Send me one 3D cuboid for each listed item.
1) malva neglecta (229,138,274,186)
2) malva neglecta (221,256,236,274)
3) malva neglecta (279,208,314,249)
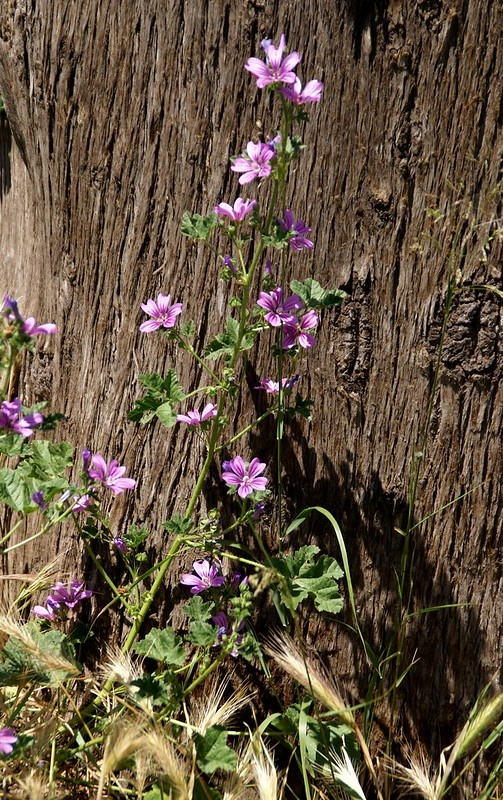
[{"bbox_3d":[0.000,-0.613,2.565,0.083,0.109,0.162,1,21,-30],"label":"malva neglecta"},{"bbox_3d":[-0.060,-0.369,2.731,0.026,0.037,0.083,19,11,2],"label":"malva neglecta"},{"bbox_3d":[0.126,-0.447,2.629,0.084,0.080,0.214,17,18,17],"label":"malva neglecta"}]
